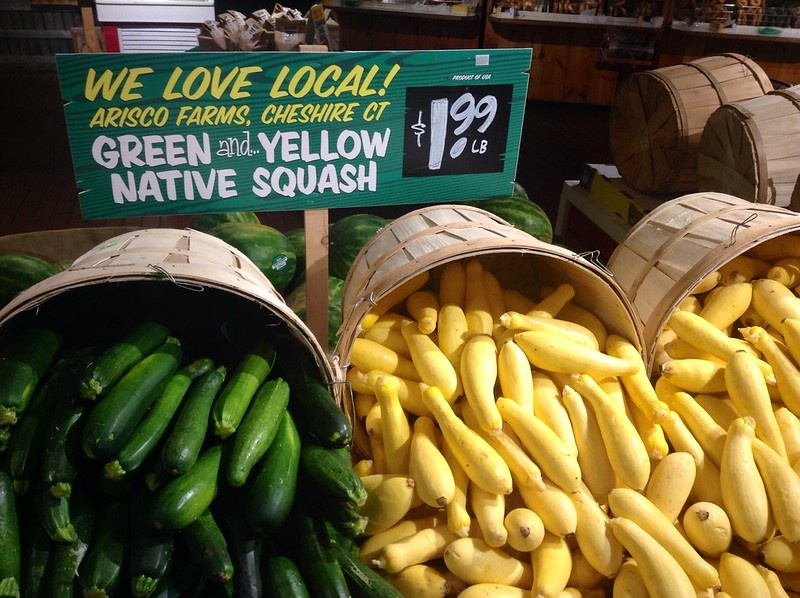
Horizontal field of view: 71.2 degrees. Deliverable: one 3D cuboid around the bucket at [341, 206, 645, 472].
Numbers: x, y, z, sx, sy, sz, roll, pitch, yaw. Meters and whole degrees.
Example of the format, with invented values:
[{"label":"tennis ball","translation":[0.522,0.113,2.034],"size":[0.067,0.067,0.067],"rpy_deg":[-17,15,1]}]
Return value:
[{"label":"bucket","translation":[0.325,0.078,2.241],"size":[0.982,1.006,0.947],"rpy_deg":[-1,-5,0]}]
